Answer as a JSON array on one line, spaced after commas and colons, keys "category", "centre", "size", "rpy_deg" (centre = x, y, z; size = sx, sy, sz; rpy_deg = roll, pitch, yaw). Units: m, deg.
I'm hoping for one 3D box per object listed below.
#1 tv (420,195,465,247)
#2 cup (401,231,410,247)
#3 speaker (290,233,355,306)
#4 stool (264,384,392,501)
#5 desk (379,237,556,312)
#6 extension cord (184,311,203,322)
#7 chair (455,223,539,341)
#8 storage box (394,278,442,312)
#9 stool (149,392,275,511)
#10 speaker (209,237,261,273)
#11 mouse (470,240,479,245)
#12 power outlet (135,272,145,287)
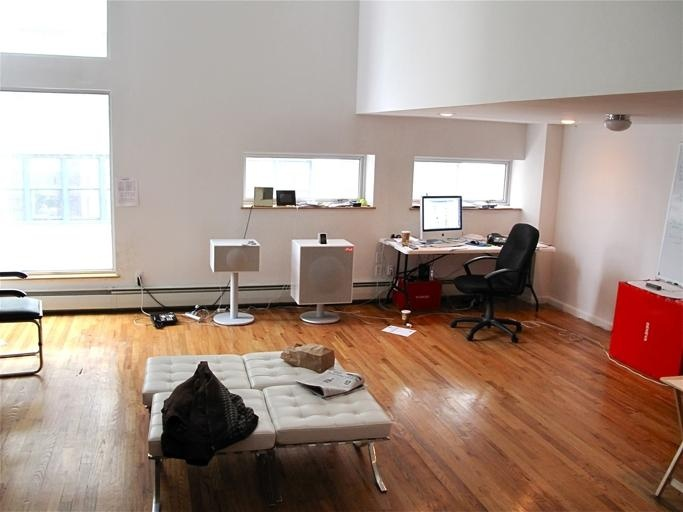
[{"category": "tv", "centre": [1.288, -0.450, 6.310], "size": [0.705, 0.678, 0.243], "rpy_deg": [-2, 5, -24]}, {"category": "cup", "centre": [0.797, -0.211, 6.299], "size": [0.167, 0.214, 0.176], "rpy_deg": [0, 7, 0]}, {"category": "speaker", "centre": [-0.284, 0.211, 5.960], "size": [0.726, 0.686, 0.528], "rpy_deg": [0, 4, -28]}, {"category": "stool", "centre": [-0.106, 1.126, 3.223], "size": [0.614, 0.357, 0.777], "rpy_deg": [-2, 9, -11]}, {"category": "desk", "centre": [1.671, 0.232, 6.597], "size": [1.926, 0.822, 0.957], "rpy_deg": [0, 11, -1]}, {"category": "extension cord", "centre": [-1.784, 0.731, 5.882], "size": [0.148, 0.050, 0.342], "rpy_deg": [-12, 16, -43]}, {"category": "chair", "centre": [1.831, 0.308, 5.817], "size": [0.983, 1.306, 0.872], "rpy_deg": [-8, 13, -23]}, {"category": "storage box", "centre": [1.040, 0.512, 6.298], "size": [0.469, 0.296, 0.453], "rpy_deg": [0, 4, -1]}, {"category": "stool", "centre": [-0.825, 1.293, 3.159], "size": [0.703, 0.485, 0.665], "rpy_deg": [-1, 18, -16]}, {"category": "speaker", "centre": [-1.256, -0.054, 5.696], "size": [0.448, 0.264, 0.430], "rpy_deg": [-1, 10, -13]}, {"category": "mouse", "centre": [1.765, -0.174, 6.436], "size": [0.107, 0.036, 0.060], "rpy_deg": [-11, 21, -39]}, {"category": "power outlet", "centre": [-2.460, 0.292, 5.956], "size": [0.090, 0.167, 0.027], "rpy_deg": [-6, 14, -19]}]
